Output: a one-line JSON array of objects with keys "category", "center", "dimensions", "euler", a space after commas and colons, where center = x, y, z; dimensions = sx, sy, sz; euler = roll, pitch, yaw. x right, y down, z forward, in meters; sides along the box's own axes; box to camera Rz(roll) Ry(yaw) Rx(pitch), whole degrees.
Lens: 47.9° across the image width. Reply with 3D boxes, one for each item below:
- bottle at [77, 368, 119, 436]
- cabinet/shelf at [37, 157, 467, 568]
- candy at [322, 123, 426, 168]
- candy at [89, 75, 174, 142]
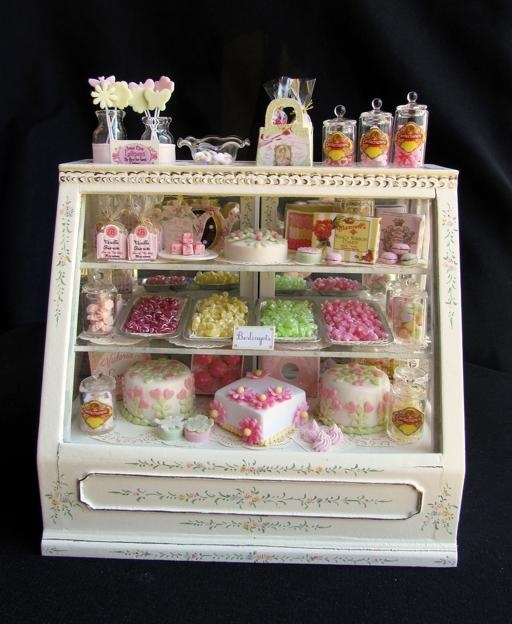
[{"category": "bottle", "center": [-0.691, 0.400, 2.546], "dimensions": [0.166, 0.234, 0.153], "euler": [2, 12, 0]}, {"category": "cabinet/shelf", "center": [-0.012, 0.239, 2.494], "dimensions": [1.972, 1.535, 0.969], "euler": [0, 19, 1]}, {"category": "candy", "center": [0.505, -0.711, 2.451], "dimensions": [0.290, 0.140, 0.083], "euler": [3, 22, 10]}, {"category": "candy", "center": [-0.527, -0.879, 2.495], "dimensions": [0.336, 0.273, 0.301], "euler": [-7, 40, -12]}]
